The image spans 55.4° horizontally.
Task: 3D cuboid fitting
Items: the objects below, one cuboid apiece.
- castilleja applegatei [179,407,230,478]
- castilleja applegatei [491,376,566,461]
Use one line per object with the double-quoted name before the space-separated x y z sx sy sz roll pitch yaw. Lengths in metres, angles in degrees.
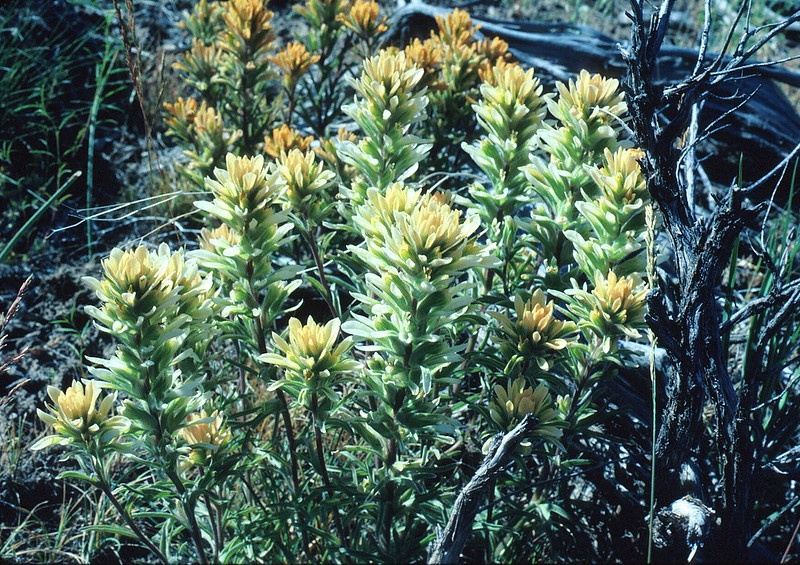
"castilleja applegatei" -0.867 0.666 3.369 0.154 0.146 0.221 1 -29 -28
"castilleja applegatei" 0.552 0.575 3.325 0.336 0.322 0.167 3 -5 -1
